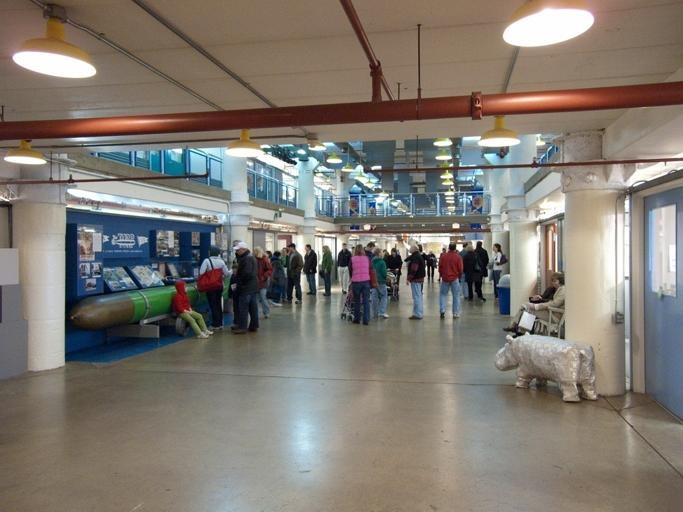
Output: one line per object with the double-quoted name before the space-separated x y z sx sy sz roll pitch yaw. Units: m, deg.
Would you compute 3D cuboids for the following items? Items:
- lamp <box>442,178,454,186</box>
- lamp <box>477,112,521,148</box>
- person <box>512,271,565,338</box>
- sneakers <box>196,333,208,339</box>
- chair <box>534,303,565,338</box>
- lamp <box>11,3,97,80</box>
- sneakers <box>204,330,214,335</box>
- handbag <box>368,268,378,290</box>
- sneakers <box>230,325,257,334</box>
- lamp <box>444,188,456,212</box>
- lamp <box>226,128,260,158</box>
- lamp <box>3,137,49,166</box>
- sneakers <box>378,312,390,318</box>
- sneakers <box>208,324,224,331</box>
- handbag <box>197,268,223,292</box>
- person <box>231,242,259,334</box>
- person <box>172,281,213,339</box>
"lamp" 5.404 -3.748 25.044 0.659 0.282 0.641 -4 6 -35
"lamp" 1.648 -1.261 5.168 0.411 0.266 0.435 4 9 26
"person" 3.428 0.862 8.742 0.963 1.141 0.558 9 3 14
"sneakers" -2.904 1.656 10.265 0.249 0.083 0.210 0 3 -1
"chair" 3.473 1.086 8.267 0.480 0.660 0.495 2 -4 -8
"lamp" -2.188 -1.671 3.702 0.484 0.633 0.674 -4 5 -39
"sneakers" -2.837 1.638 10.525 0.192 0.074 0.064 -1 2 13
"handbag" 0.726 0.535 11.809 0.216 0.530 0.515 -2 4 1
"sneakers" -2.119 1.622 10.705 0.552 0.225 0.184 -3 3 3
"lamp" 5.577 -2.731 25.604 0.579 1.211 0.377 0 4 10
"lamp" -1.120 -1.204 5.614 0.438 0.277 0.445 -1 8 -13
"lamp" -4.163 -1.344 6.391 0.434 0.254 0.358 0 4 0
"sneakers" 1.065 1.547 12.700 0.265 0.115 0.097 -1 0 32
"sneakers" -2.804 1.614 11.034 0.324 0.130 0.108 -3 3 5
"handbag" -2.886 0.539 10.868 0.498 0.447 0.230 -5 -2 0
"person" -2.101 0.755 10.748 0.500 1.792 0.624 -1 4 -10
"person" -3.196 1.118 10.537 1.025 1.153 0.508 2 5 36
